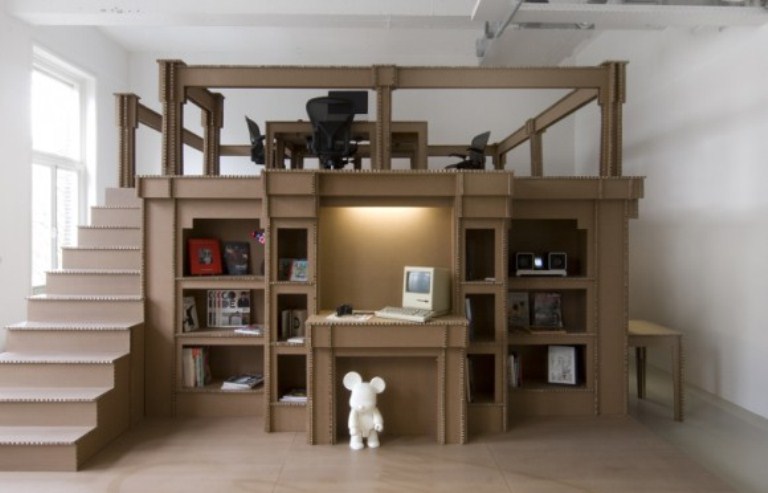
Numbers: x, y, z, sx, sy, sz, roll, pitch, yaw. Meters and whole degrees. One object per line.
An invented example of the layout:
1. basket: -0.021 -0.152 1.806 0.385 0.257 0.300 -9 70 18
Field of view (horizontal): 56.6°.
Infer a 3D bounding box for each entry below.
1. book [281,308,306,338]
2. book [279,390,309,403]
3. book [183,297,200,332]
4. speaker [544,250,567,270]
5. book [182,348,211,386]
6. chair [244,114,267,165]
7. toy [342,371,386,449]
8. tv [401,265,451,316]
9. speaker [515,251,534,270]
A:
1. book: -1.117 0.958 9.005 0.294 0.387 0.401 0 -5 -1
2. book: -1.120 1.856 8.800 0.332 0.126 0.272 0 -1 -5
3. book: -2.457 0.868 9.080 0.044 0.436 0.416 -10 -6 16
4. speaker: 2.170 0.175 9.029 0.219 0.216 0.219 0 -1 -9
5. book: -2.373 1.521 8.990 0.249 0.448 0.456 -1 -4 -1
6. chair: -1.975 -1.711 11.399 0.455 0.716 0.521 -3 12 -24
7. toy: -0.234 1.931 8.416 0.468 0.890 0.209 0 -1 -6
8. tv: 0.488 0.518 8.650 0.540 0.567 0.562 -2 -5 31
9. speaker: 1.784 0.175 9.025 0.203 0.203 0.205 0 -2 5
